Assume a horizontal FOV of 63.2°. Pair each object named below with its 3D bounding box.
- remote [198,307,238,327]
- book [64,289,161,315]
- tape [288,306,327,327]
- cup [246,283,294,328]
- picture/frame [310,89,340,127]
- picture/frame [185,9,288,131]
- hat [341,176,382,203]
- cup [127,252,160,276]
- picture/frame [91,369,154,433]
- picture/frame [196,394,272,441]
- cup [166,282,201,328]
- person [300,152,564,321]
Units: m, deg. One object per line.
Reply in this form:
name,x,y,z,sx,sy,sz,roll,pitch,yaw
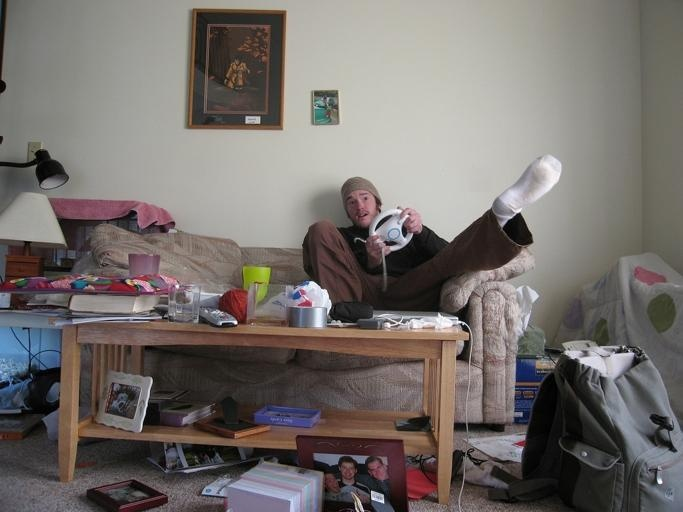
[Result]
remote,-0.442,0.217,1.979,0.063,0.030,0.127,4,0,-36
book,-0.832,0.169,2.019,0.297,0.074,0.104,0,7,-24
tape,-0.128,0.217,1.983,0.100,0.043,0.092,2,-2,-16
cup,-0.277,0.180,2.075,0.176,0.147,0.168,2,-1,0
picture/frame,-0.102,-0.903,3.440,0.274,0.276,0.042,1,3,3
picture/frame,-0.636,-1.132,3.457,0.882,0.882,0.066,2,-6,0
hat,0.100,-0.378,3.290,0.178,0.123,0.178,-19,2,-4
cup,-0.783,0.033,2.216,0.104,0.105,0.098,2,10,0
picture/frame,-0.823,0.539,2.081,0.238,0.198,0.013,4,-11,25
picture/frame,-0.434,0.608,2.098,0.195,0.076,0.139,-4,-6,42
cup,-0.618,0.184,2.105,0.161,0.143,0.147,-1,-13,0
person,0.258,-0.083,2.553,0.908,0.638,1.186,3,-21,-16
